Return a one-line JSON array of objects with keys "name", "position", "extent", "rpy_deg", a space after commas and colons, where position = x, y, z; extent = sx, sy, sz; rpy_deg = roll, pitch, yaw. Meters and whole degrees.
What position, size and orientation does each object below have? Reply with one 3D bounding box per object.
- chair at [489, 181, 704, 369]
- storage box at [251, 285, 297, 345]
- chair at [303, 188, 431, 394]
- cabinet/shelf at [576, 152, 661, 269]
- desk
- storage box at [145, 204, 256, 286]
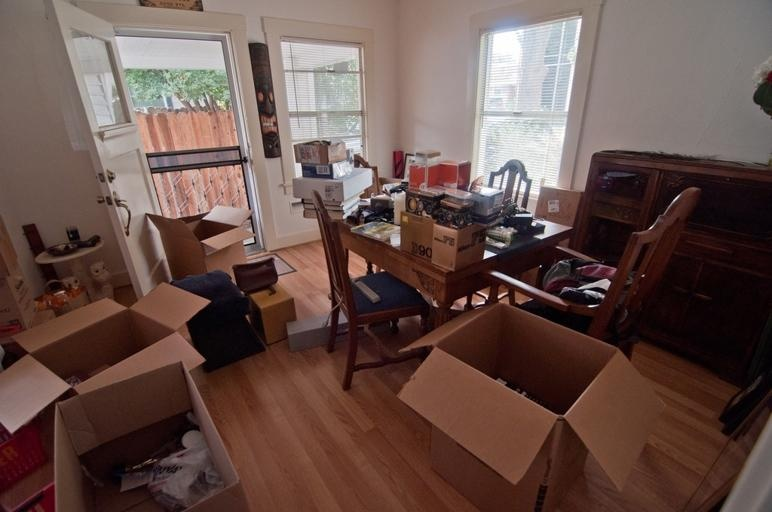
[{"name": "chair", "position": [1.550, 0.162, 3.531], "extent": [0.811, 1.408, 0.796], "rpy_deg": [-24, 42, -21]}, {"name": "storage box", "position": [-0.938, 0.493, 4.089], "extent": [0.309, 0.414, 0.305], "rpy_deg": [-12, 23, -25]}, {"name": "chair", "position": [-0.124, 0.227, 3.812], "extent": [0.862, 1.391, 0.815], "rpy_deg": [-3, 20, -8]}, {"name": "cabinet/shelf", "position": [1.870, -0.368, 3.923], "extent": [0.381, 1.061, 0.571], "rpy_deg": [-21, 37, -32]}, {"name": "desk", "position": [0.575, 0.125, 3.737], "extent": [1.119, 0.561, 1.093], "rpy_deg": [-14, 29, -30]}, {"name": "storage box", "position": [-1.648, -0.076, 4.476], "extent": [0.758, 0.734, 0.716], "rpy_deg": [28, 31, 34]}]
